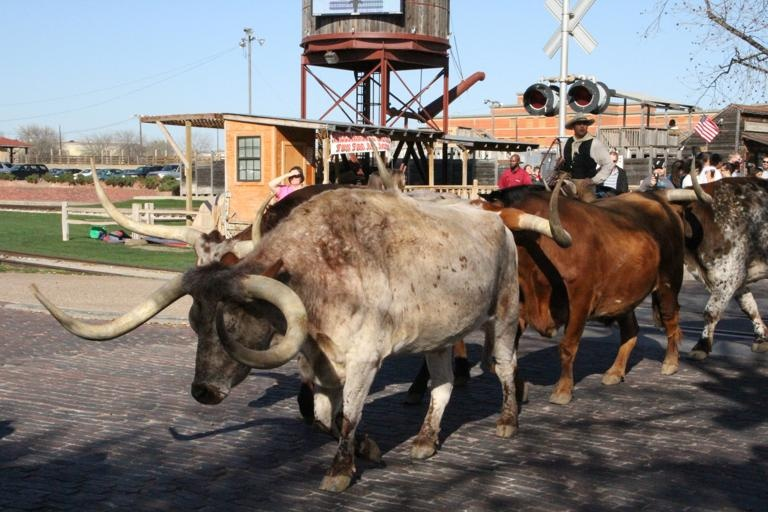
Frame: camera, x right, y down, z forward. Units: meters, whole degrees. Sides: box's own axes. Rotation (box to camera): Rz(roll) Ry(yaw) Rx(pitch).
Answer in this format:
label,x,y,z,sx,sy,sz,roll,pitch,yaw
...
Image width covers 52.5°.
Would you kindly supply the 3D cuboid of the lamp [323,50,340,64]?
label,x,y,z,sx,sy,sz,roll,pitch,yaw
lamp,-2.063,-8.064,31.366,0.442,0.512,0.565,2,45,6
